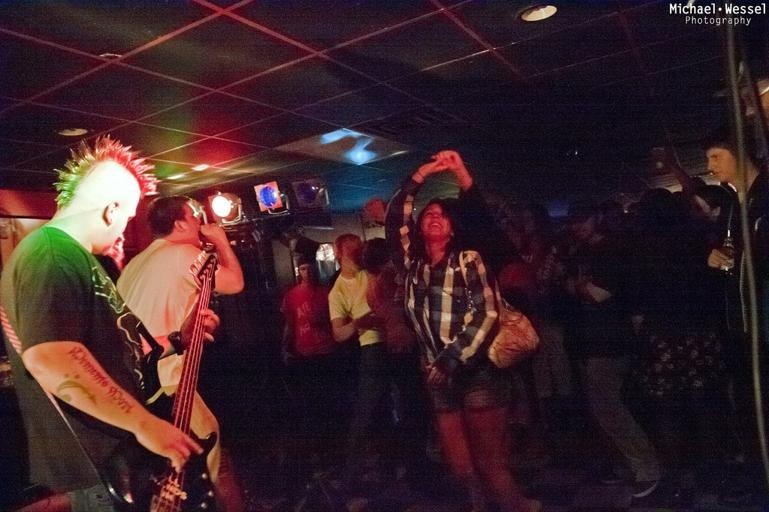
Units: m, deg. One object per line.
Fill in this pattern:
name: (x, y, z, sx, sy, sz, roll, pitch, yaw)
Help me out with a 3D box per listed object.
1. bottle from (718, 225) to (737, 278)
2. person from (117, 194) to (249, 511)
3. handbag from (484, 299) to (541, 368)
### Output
bottle: (2.080, -0.034, 3.226, 0.111, 0.284, 0.038, -14, 1, -8)
person: (-1.325, 0.608, 3.468, 0.949, 1.901, 0.301, 13, -28, -43)
handbag: (0.836, 0.508, 3.429, 0.481, 0.304, 0.197, -22, 8, 1)
